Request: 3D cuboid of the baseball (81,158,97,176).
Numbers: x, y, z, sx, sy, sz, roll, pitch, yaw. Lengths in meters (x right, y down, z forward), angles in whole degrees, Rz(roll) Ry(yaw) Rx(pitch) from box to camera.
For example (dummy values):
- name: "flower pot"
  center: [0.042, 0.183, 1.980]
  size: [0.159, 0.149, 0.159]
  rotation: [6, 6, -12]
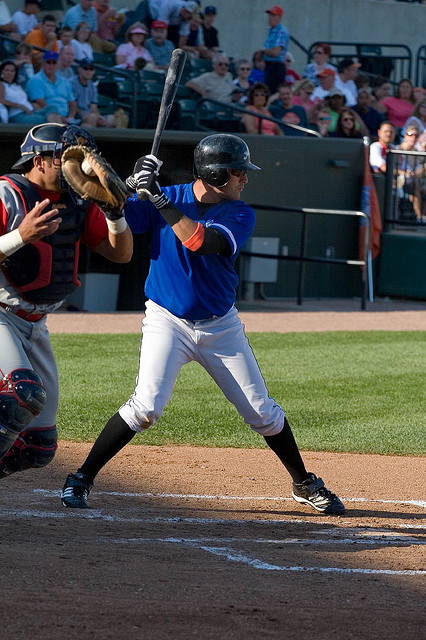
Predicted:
- name: "baseball"
  center: [-0.418, -0.506, 3.015]
  size: [0.056, 0.047, 0.050]
  rotation: [2, -4, 0]

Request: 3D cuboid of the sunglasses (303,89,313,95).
- name: "sunglasses"
  center: [1.385, -3.266, 13.106]
  size: [0.090, 0.067, 0.239]
  rotation: [3, 0, 27]

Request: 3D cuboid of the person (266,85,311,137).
- name: "person"
  center: [1.054, -3.016, 12.566]
  size: [0.391, 0.234, 0.793]
  rotation: [14, -26, 27]

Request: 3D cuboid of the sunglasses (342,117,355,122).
- name: "sunglasses"
  center: [1.976, -2.882, 13.112]
  size: [0.229, 0.060, 0.070]
  rotation: [3, 0, -30]

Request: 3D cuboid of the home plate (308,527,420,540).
- name: "home plate"
  center: [0.563, 0.822, 3.487]
  size: [0.381, 0.014, 0.243]
  rotation: [3, -1, -10]

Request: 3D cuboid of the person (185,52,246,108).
- name: "person"
  center: [0.098, -3.221, 12.349]
  size: [0.658, 0.742, 0.788]
  rotation: [3, 0, -28]

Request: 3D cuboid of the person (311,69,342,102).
- name: "person"
  center: [1.666, -3.459, 13.467]
  size: [0.392, 0.479, 0.714]
  rotation: [8, 20, 23]

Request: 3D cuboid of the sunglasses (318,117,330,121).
- name: "sunglasses"
  center: [1.584, -2.878, 13.000]
  size: [0.154, 0.041, 0.075]
  rotation: [3, 0, 3]
